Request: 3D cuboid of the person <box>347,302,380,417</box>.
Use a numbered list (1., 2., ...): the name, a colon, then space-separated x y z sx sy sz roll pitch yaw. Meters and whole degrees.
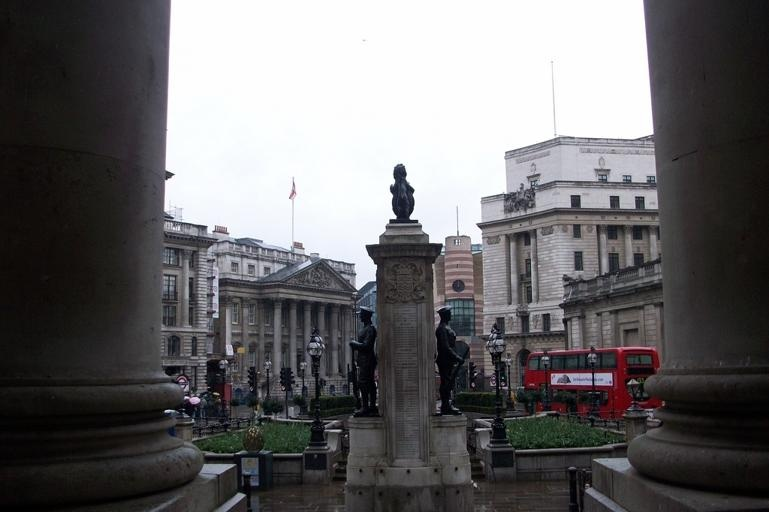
1. person: -0.392 2.094 17.412 0.523 2.250 1.139 -1 -10 -1
